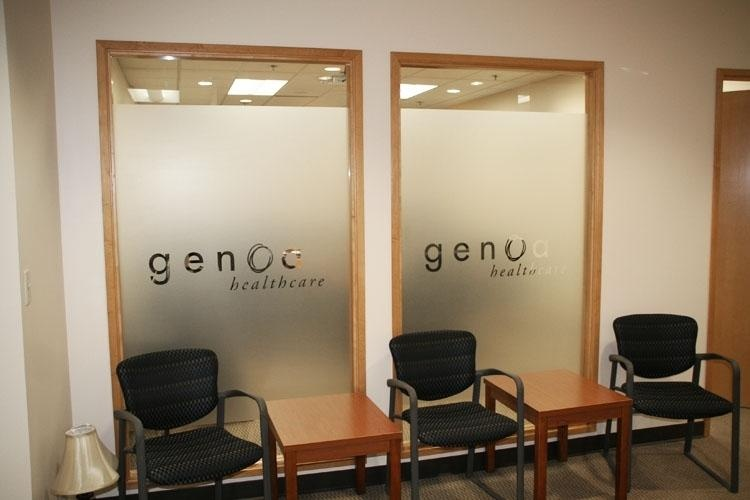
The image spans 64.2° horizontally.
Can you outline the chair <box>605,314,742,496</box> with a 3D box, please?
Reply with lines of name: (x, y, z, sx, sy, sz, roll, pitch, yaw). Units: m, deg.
chair: (2.401, 1.180, 4.848, 1.026, 1.278, 0.821, -3, 6, 11)
